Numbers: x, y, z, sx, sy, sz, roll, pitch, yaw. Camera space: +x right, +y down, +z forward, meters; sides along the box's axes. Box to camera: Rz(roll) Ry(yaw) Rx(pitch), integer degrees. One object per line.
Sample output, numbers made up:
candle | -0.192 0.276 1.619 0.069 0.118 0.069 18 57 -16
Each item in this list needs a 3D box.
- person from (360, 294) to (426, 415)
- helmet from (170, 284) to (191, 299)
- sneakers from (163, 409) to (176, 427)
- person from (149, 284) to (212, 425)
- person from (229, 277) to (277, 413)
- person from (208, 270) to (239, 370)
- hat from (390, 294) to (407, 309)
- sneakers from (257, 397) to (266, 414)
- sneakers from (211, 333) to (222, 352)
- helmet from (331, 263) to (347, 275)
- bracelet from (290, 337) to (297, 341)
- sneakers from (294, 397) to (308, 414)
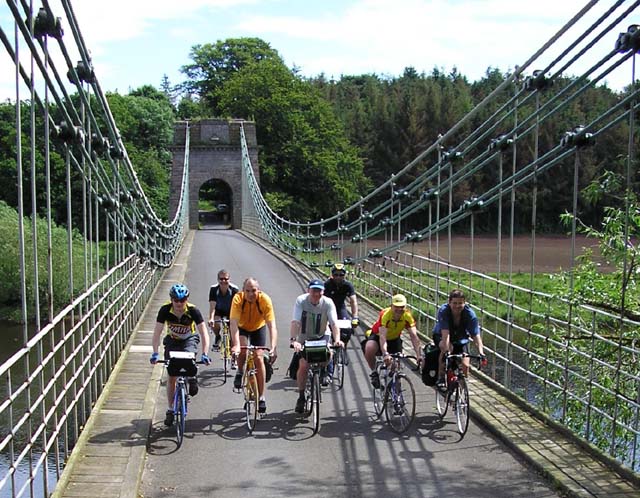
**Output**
person | 0.821 1.289 7.776 0.626 1.593 2.159 2 3 -3
helmet | -1.508 0.461 6.624 0.177 0.151 0.449 1 2 -15
sneakers | -1.607 1.830 6.605 0.111 0.143 0.336 4 -40 -12
person | -1.510 1.163 6.731 0.616 1.563 1.197 0 3 -14
person | -0.841 1.133 7.499 0.541 1.673 2.294 4 7 -7
person | -1.485 1.005 9.641 0.475 1.367 1.755 1 20 -10
hat | 0.943 0.623 7.349 0.177 0.172 0.481 2 2 6
sneakers | -0.627 1.697 6.710 0.055 0.084 0.180 3 7 -1
sneakers | -1.646 1.486 9.852 0.119 0.179 0.364 2 19 1
helmet | 0.322 0.343 10.499 0.222 0.118 0.342 5 -14 -2
bracelet | -0.283 1.009 6.860 0.047 0.036 0.048 4 -14 -15
sneakers | -0.213 1.806 7.119 0.103 0.200 0.192 2 -23 0
